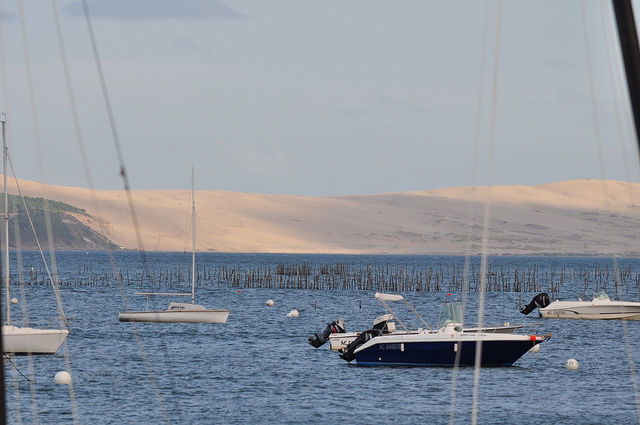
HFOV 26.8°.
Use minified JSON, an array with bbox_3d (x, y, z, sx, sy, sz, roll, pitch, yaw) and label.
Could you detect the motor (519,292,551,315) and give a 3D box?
[{"bbox_3d":[19.503,8.468,121.117,1.115,1.434,3.471,21,-25,-20],"label":"motor"}]
